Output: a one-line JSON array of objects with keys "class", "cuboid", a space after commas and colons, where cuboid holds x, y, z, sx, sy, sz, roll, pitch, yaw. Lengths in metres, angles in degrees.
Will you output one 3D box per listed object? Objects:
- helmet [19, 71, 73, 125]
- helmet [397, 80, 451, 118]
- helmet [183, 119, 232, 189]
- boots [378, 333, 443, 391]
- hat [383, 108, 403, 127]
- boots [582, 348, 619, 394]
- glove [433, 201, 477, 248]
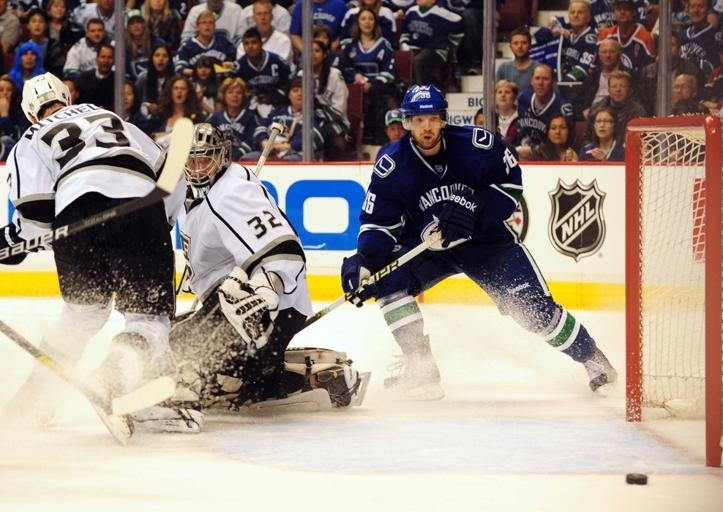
[{"class": "helmet", "cuboid": [-1.493, -0.752, 5.028, 0.198, 0.246, 0.245, -27, 37, -8]}, {"class": "helmet", "cuboid": [0.316, -0.767, 5.229, 0.164, 0.182, 0.202, -1, 18, -3]}, {"class": "helmet", "cuboid": [-0.689, -0.446, 4.808, 0.224, 0.258, 0.274, 1, 13, 16]}, {"class": "boots", "cuboid": [0.190, 0.525, 5.345, 0.358, 0.347, 0.152, -7, -11, -18]}, {"class": "hat", "cuboid": [0.223, -0.964, 7.409, 0.137, 0.112, 0.196, 0, 12, 2]}, {"class": "boots", "cuboid": [1.169, 0.556, 5.260, 0.159, 0.208, 0.110, -14, -5, 14]}, {"class": "glove", "cuboid": [0.465, -0.157, 5.207, 0.170, 0.218, 0.094, 5, 1, 20]}]
